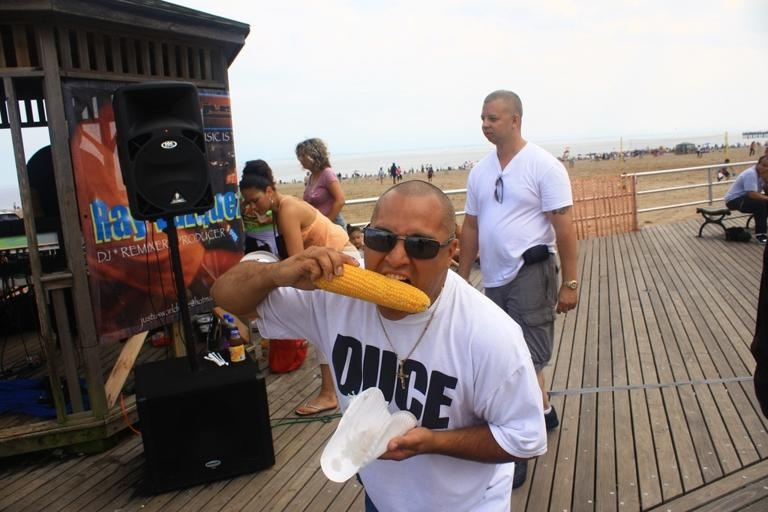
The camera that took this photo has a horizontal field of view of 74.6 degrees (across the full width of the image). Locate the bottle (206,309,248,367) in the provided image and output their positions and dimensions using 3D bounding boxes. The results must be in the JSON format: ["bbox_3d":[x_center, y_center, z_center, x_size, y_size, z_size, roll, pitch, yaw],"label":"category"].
[{"bbox_3d":[-1.533,0.812,4.965,0.286,0.796,0.294,-1,7,0],"label":"bottle"}]

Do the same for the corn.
[{"bbox_3d":[-0.140,0.155,2.527,0.702,0.190,0.203,15,-4,23],"label":"corn"}]

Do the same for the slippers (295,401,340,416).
[{"bbox_3d":[-0.654,1.459,4.902,0.319,0.062,0.157,1,2,-23],"label":"slippers"}]
